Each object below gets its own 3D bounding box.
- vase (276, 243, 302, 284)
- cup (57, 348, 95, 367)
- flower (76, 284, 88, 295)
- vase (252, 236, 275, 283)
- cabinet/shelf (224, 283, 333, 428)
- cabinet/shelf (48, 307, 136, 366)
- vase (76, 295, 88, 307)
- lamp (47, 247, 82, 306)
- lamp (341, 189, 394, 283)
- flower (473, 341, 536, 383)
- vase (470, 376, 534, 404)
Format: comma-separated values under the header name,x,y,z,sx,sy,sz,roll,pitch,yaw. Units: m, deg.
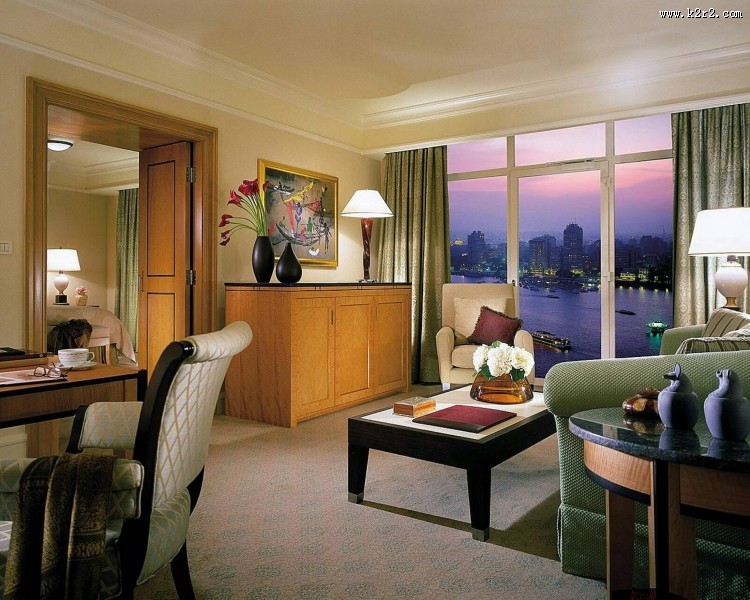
name,x,y,z,sx,sy,sz,roll,pitch,yaw
vase,-0.728,-0.302,4.377,0.205,0.324,0.290,0,2,1
cup,-1.355,0.258,2.407,0.099,0.075,0.118,2,5,-1
flower,-4.197,-0.131,7.589,0.174,0.087,0.182,0,7,-15
vase,-0.923,-0.328,4.339,0.160,0.390,0.264,0,2,-14
cabinet/shelf,-0.684,0.412,4.859,0.942,1.564,1.039,-1,0,30
cabinet/shelf,-3.199,0.315,6.001,0.682,0.393,0.664,2,4,34
vase,-4.108,0.020,7.448,0.127,0.158,0.131,0,0,24
lamp,-4.395,-0.357,7.531,0.396,0.799,0.780,-1,3,-30
lamp,-0.091,-0.696,5.428,0.507,0.983,0.987,0,2,2
flower,0.718,0.318,3.006,0.234,0.158,0.255,3,0,-2
vase,0.728,0.517,3.056,0.194,0.138,0.201,0,-1,30
